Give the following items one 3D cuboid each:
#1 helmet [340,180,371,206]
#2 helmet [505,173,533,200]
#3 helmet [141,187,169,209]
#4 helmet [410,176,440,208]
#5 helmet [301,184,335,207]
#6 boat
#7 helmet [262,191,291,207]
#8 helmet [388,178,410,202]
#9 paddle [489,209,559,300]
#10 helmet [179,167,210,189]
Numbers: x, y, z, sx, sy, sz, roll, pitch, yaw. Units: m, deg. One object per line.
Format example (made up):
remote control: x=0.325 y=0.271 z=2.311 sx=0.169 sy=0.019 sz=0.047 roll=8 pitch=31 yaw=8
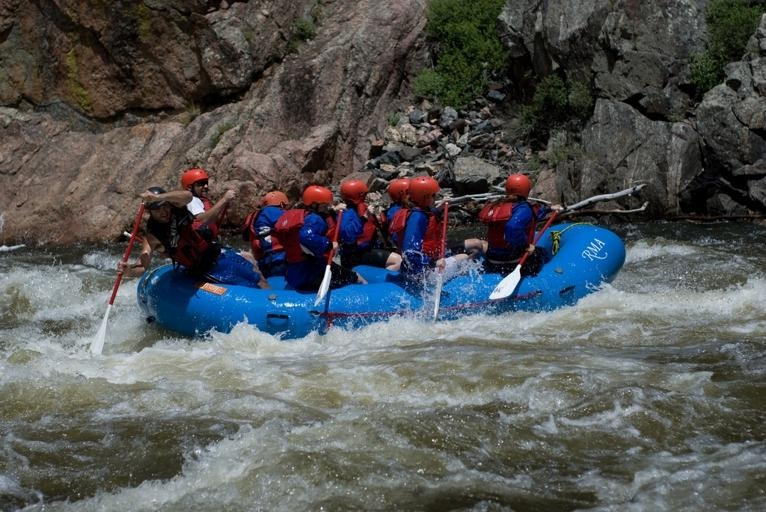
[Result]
helmet: x=-0.505 y=-1.111 z=15.985 sx=0.465 sy=0.393 sz=0.352 roll=-11 pitch=29 yaw=-20
helmet: x=2.274 y=-1.216 z=16.202 sx=0.364 sy=0.412 sz=0.462 roll=11 pitch=15 yaw=37
helmet: x=-3.594 y=-0.925 z=14.941 sx=0.288 sy=0.198 sz=0.395 roll=-12 pitch=1 yaw=-17
helmet: x=0.631 y=-1.082 z=15.807 sx=0.543 sy=0.502 sz=0.432 roll=-6 pitch=15 yaw=-20
helmet: x=-1.111 y=-1.009 z=15.716 sx=0.451 sy=0.258 sz=0.329 roll=0 pitch=5 yaw=1
boat: x=0.215 y=0.627 z=15.817 sx=5.361 sy=0.886 sz=3.018 roll=-4 pitch=6 yaw=-6
helmet: x=-1.909 y=-1.015 z=16.729 sx=0.353 sy=0.254 sz=0.261 roll=-8 pitch=8 yaw=-19
helmet: x=0.220 y=-1.129 z=16.203 sx=0.400 sy=0.411 sz=0.343 roll=14 pitch=12 yaw=-16
paddle: x=2.318 y=0.003 z=15.921 sx=0.281 sy=0.111 sz=2.424 roll=17 pitch=42 yaw=25
helmet: x=-3.266 y=-1.352 z=16.120 sx=0.559 sy=0.405 sz=0.403 roll=10 pitch=6 yaw=14
